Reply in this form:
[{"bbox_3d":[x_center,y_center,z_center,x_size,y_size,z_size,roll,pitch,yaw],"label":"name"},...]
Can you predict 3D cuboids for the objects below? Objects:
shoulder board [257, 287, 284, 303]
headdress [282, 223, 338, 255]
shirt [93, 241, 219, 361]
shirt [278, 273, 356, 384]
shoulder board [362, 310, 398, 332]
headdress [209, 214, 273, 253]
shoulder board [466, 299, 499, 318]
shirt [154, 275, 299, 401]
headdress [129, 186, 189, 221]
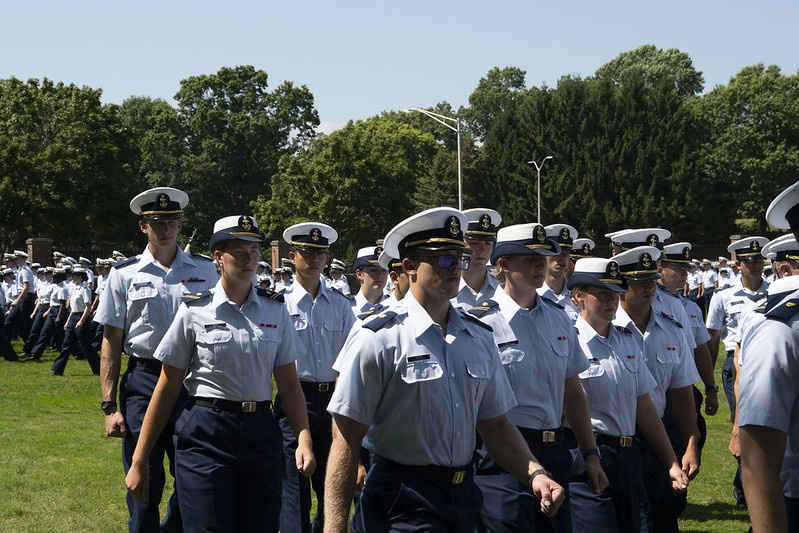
[{"bbox_3d":[-1.330,0.300,10.196,0.183,0.079,0.186,11,0,5],"label":"shoulder board"},{"bbox_3d":[-1.128,-0.391,12.271,0.611,0.411,0.583,3,-6,-5],"label":"headdress"},{"bbox_3d":[-2.764,0.436,11.336,1.605,1.290,0.670,-1,2,-24],"label":"shirt"},{"bbox_3d":[-1.020,0.803,11.812,1.458,1.365,0.455,1,-6,-23],"label":"shirt"},{"bbox_3d":[-0.162,0.477,8.636,0.249,0.065,0.155,-43,30,-28],"label":"shoulder board"},{"bbox_3d":[-1.681,-0.361,10.365,0.531,0.320,0.681,-3,-8,-19],"label":"headdress"},{"bbox_3d":[0.893,0.437,10.186,0.247,0.070,0.178,-32,29,-23],"label":"shoulder board"},{"bbox_3d":[-1.711,0.775,10.042,1.630,1.253,0.670,2,-3,-28],"label":"shirt"},{"bbox_3d":[-2.856,-0.764,11.576,0.641,0.463,0.496,4,-7,-16],"label":"headdress"}]
